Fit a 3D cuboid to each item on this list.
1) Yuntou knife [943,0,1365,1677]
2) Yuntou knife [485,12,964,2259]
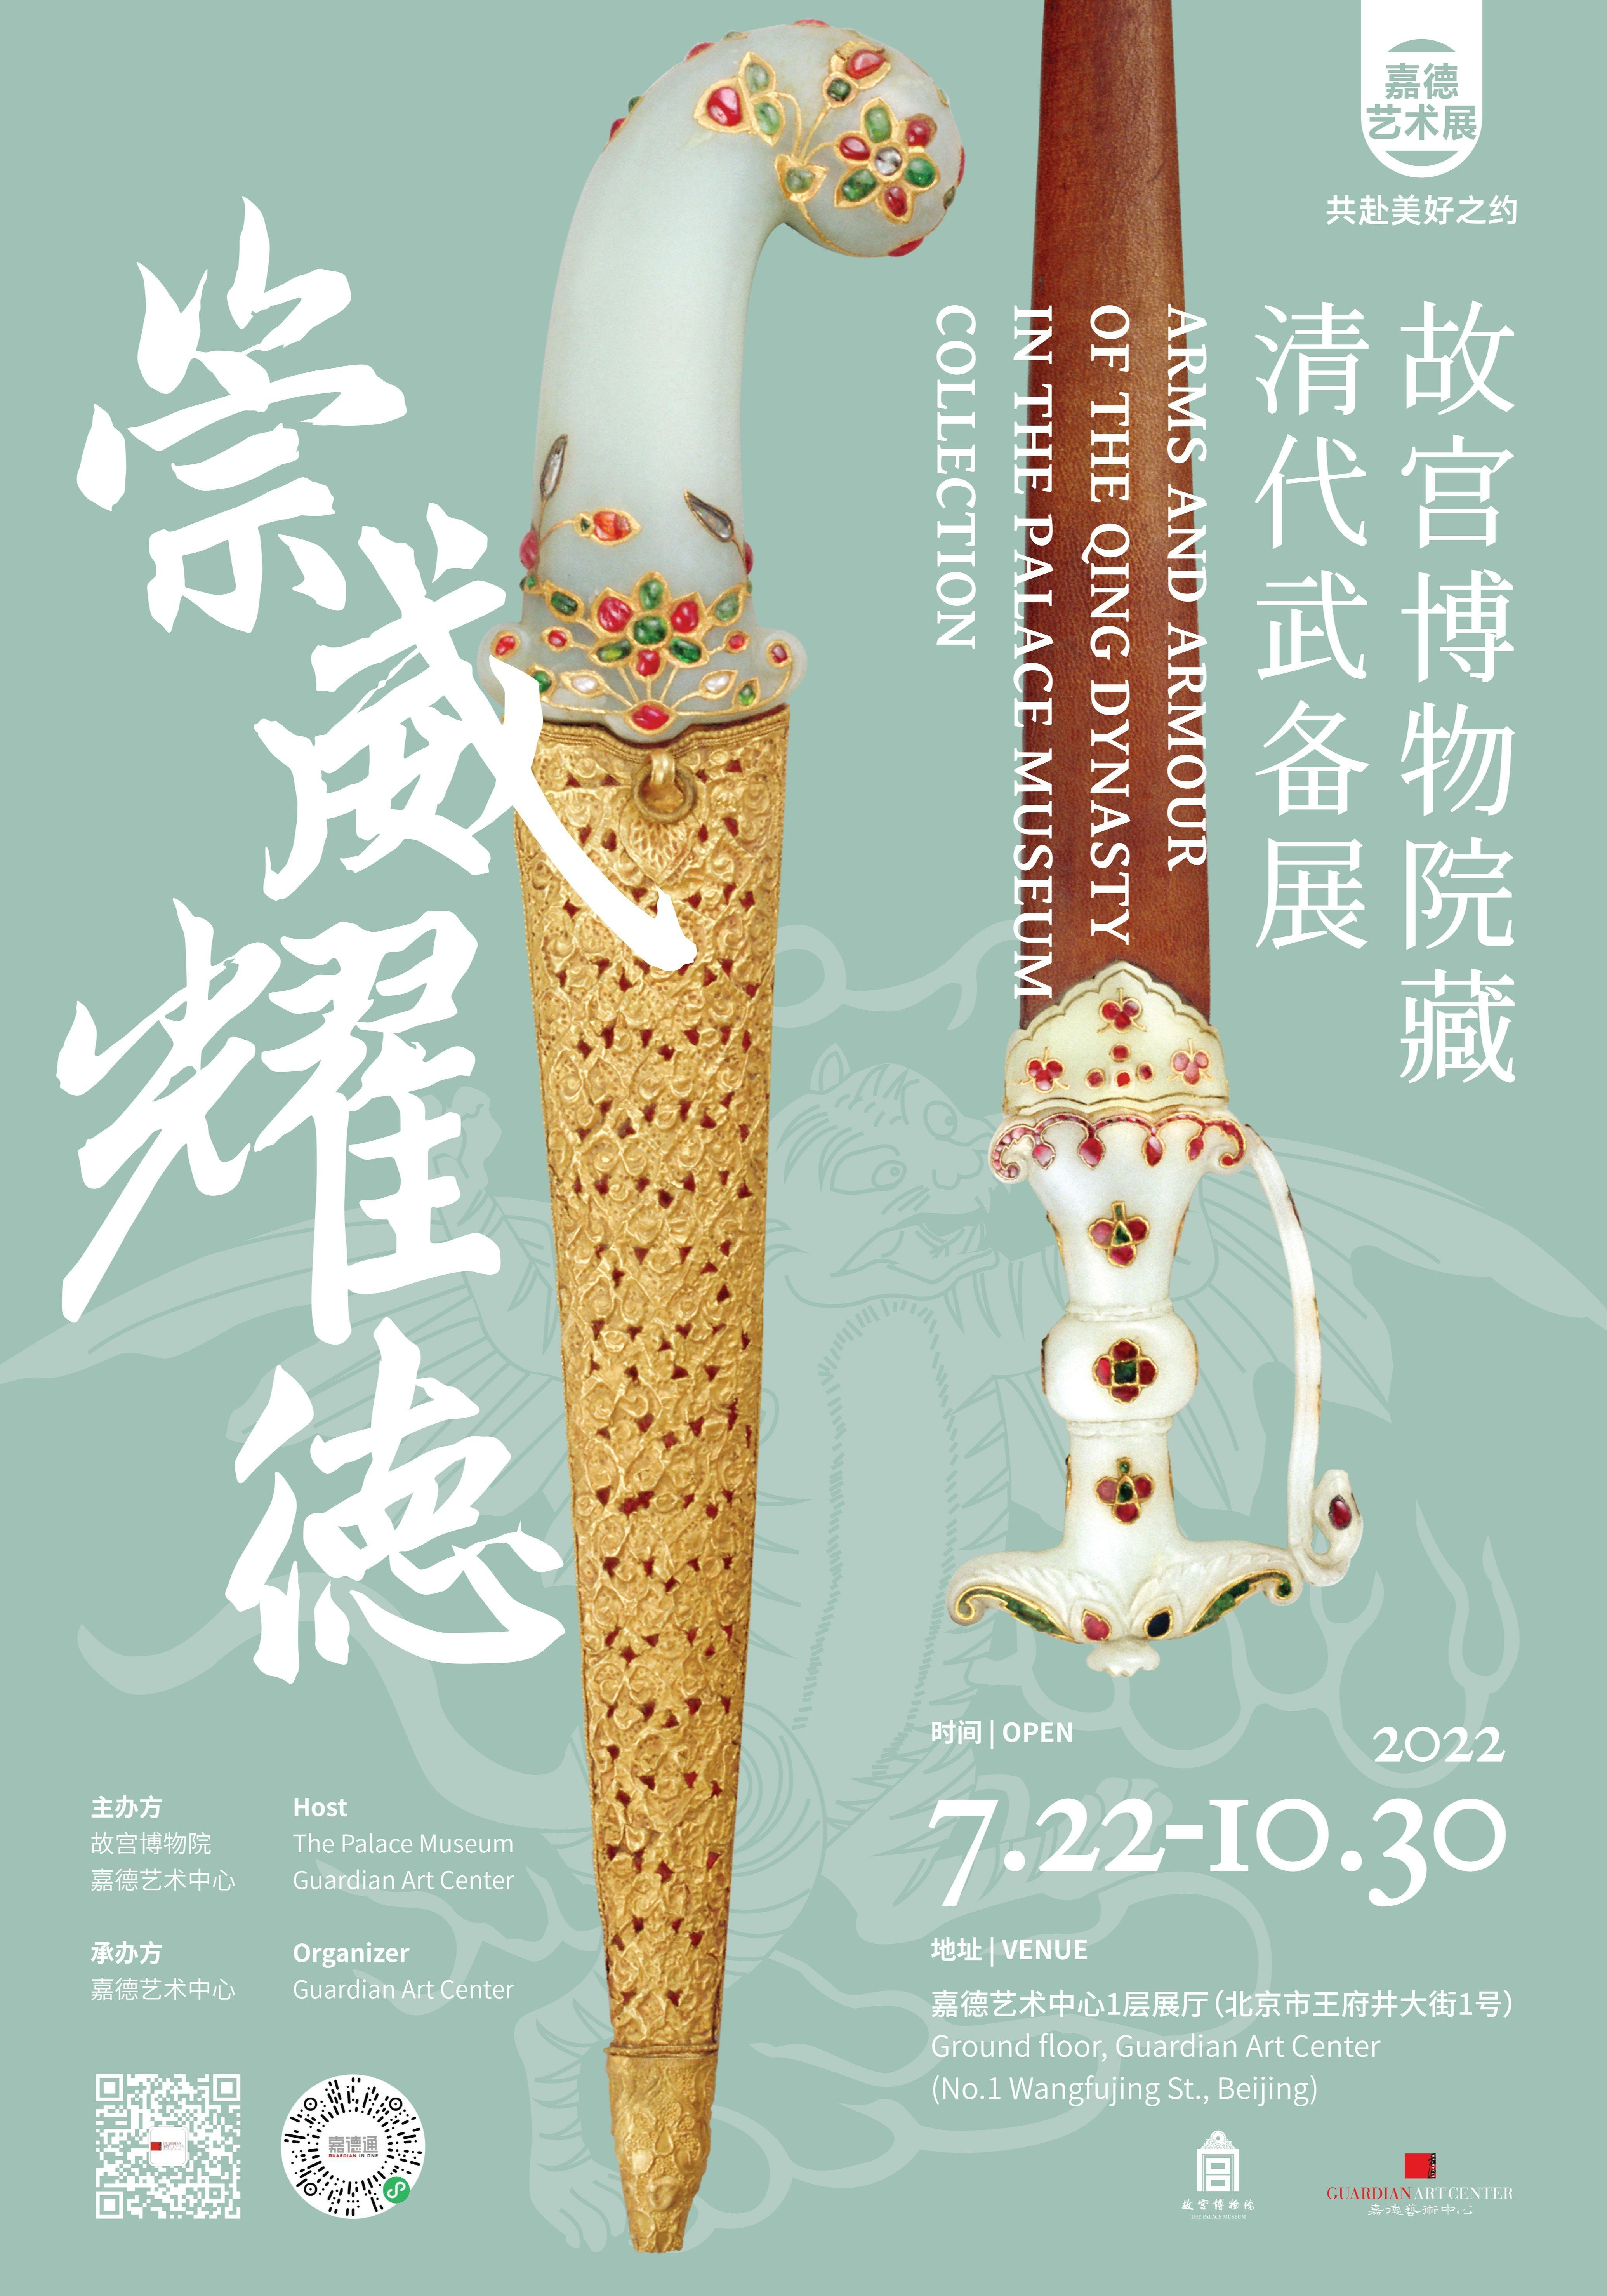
[{"bbox_3d":[0.334,-0.266,2.309,0.456,1.486,0.205,9,11,20],"label":"Yuntou knife"},{"bbox_3d":[-0.136,0.026,2.305,0.290,1.939,0.218,8,11,16],"label":"Yuntou knife"}]
